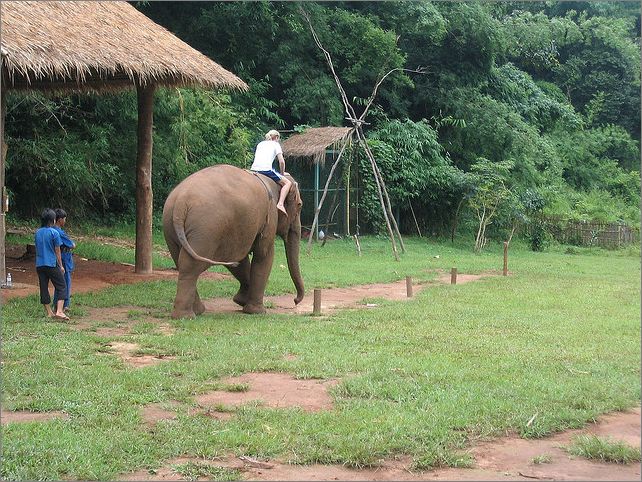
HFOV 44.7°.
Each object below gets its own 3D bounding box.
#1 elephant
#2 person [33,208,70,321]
[{"bbox_3d":[-1.495,-0.042,14.382,1.311,2.757,3.238,8,10,37],"label":"elephant"},{"bbox_3d":[-4.428,0.366,12.841,0.463,1.720,0.789,-2,8,-26],"label":"person"}]
